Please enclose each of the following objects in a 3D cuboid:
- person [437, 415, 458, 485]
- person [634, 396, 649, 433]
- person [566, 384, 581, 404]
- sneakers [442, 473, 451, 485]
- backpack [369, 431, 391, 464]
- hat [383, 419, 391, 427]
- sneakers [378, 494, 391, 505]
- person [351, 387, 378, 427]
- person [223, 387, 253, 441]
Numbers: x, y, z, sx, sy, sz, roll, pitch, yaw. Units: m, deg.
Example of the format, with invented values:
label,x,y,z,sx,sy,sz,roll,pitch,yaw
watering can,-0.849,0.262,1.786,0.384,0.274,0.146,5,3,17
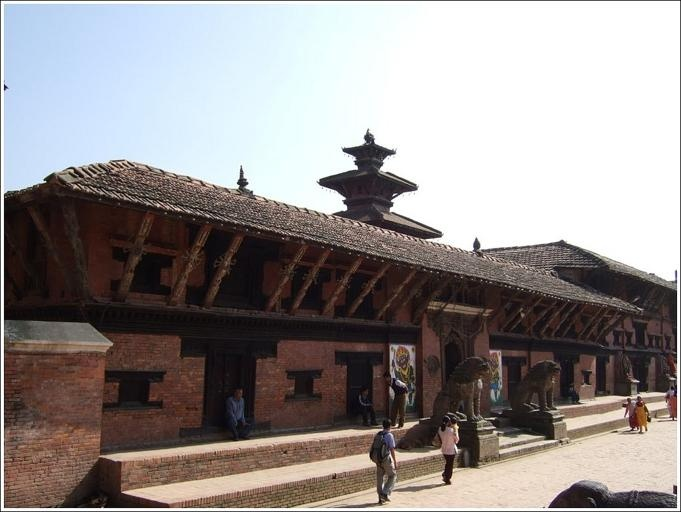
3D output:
label,x,y,z,sx,sy,sz,roll,pitch,yaw
person,2.828,5.062,14.050,0.428,1.707,0.762,-3,-15,10
person,13.468,7.148,24.299,0.498,1.552,1.148,-8,-17,27
person,12.679,7.504,29.415,0.598,0.999,1.433,-7,-17,21
sneakers,2.814,5.842,14.125,0.120,0.272,0.362,-1,-4,37
backpack,0.889,4.343,12.217,0.442,0.690,0.277,-5,-15,14
hat,1.083,3.940,12.639,0.181,0.271,0.255,2,-3,7
sneakers,0.974,5.485,12.101,0.342,0.157,0.115,7,-10,-41
person,0.846,5.157,18.543,0.685,1.277,1.225,-1,-15,1
person,-2.862,4.417,15.039,0.712,1.337,0.390,13,-20,-42
